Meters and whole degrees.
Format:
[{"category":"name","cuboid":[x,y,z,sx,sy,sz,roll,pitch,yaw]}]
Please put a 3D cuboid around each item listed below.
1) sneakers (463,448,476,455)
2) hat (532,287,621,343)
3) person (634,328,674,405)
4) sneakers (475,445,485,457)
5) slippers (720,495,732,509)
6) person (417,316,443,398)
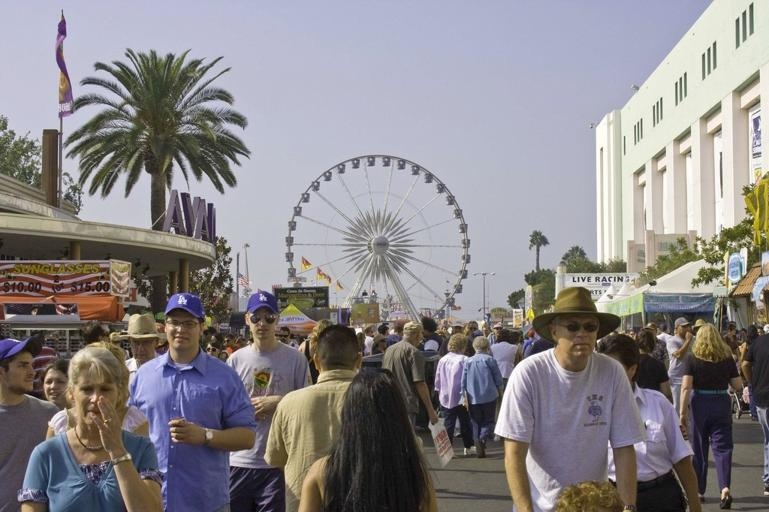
[{"category":"sneakers","cuboid":[1.553,3.553,16.885,0.210,0.118,0.406,0,-8,3]},{"category":"hat","cuboid":[1.857,0.522,9.182,0.531,0.290,0.684,-1,-17,3]},{"category":"person","cuboid":[3.621,1.576,12.513,0.518,1.425,0.390,1,33,30]},{"category":"sneakers","cuboid":[1.724,3.485,16.547,0.090,0.317,0.126,-4,7,17]},{"category":"slippers","cuboid":[4.721,3.400,12.746,0.109,0.089,0.224,0,-30,1]},{"category":"person","cuboid":[1.066,2.227,19.794,0.543,1.778,0.539,7,21,30]}]
